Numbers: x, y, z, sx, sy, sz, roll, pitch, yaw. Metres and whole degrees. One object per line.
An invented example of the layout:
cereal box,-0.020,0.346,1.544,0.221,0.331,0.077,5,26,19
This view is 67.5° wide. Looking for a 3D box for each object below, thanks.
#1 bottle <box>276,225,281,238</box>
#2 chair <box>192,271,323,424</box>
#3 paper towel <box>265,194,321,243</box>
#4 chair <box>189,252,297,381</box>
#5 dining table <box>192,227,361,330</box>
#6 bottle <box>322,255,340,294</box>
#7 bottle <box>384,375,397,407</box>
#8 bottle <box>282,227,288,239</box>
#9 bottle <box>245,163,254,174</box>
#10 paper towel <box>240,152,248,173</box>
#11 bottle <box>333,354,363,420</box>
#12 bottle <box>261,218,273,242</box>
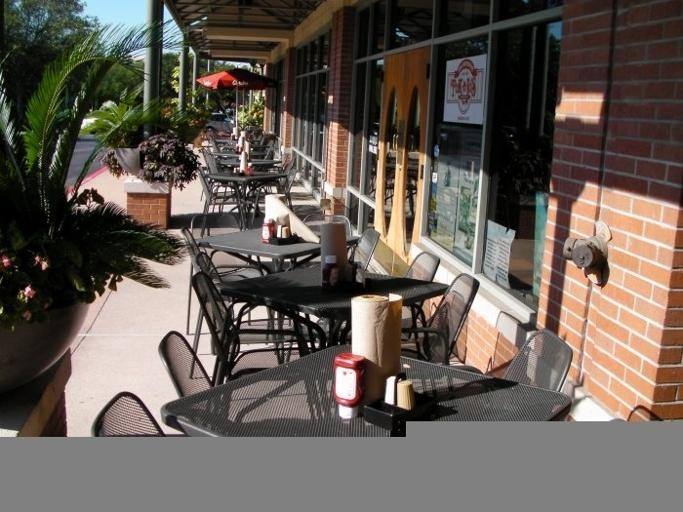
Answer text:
bottle,-0.589,-0.244,4.885,0.066,0.120,0.077,0,3,-14
chair,-0.598,0.469,3.853,0.803,1.271,0.832,-4,17,-10
paper towel,-0.477,-0.379,5.005,0.518,0.451,0.309,-1,12,-10
chair,-0.687,0.518,3.839,0.775,1.280,0.772,-3,20,-11
dining table,-0.859,0.022,4.970,0.935,0.659,0.907,10,17,35
bottle,-0.076,0.102,3.671,0.128,0.239,0.124,0,20,0
bottle,0.198,0.521,2.015,0.056,0.108,0.108,2,12,5
bottle,-0.530,-0.227,4.889,0.077,0.098,0.082,0,6,0
bottle,-1.697,-1.620,9.460,0.106,0.206,0.171,1,12,2
paper towel,-1.802,-1.744,9.491,0.143,0.379,0.247,-2,12,-11
bottle,0.017,0.509,2.051,0.146,0.251,0.088,9,14,35
bottle,-0.692,-0.240,4.885,0.120,0.209,0.171,0,12,-3
